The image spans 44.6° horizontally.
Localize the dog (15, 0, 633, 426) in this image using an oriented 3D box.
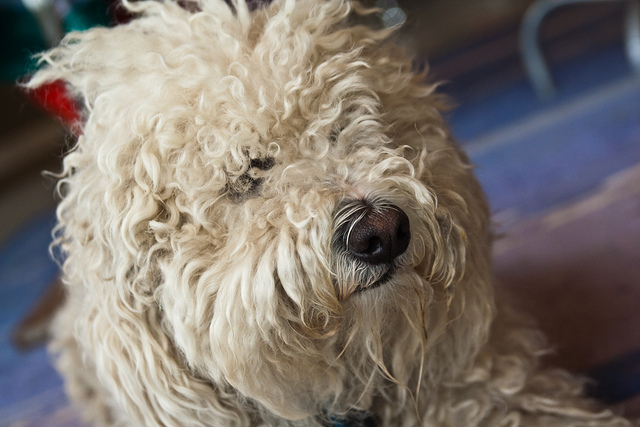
[{"bbox_3d":[-0.109,0.072,3.398,1.977,1.651,1.336,-8,45,15],"label":"dog"}]
